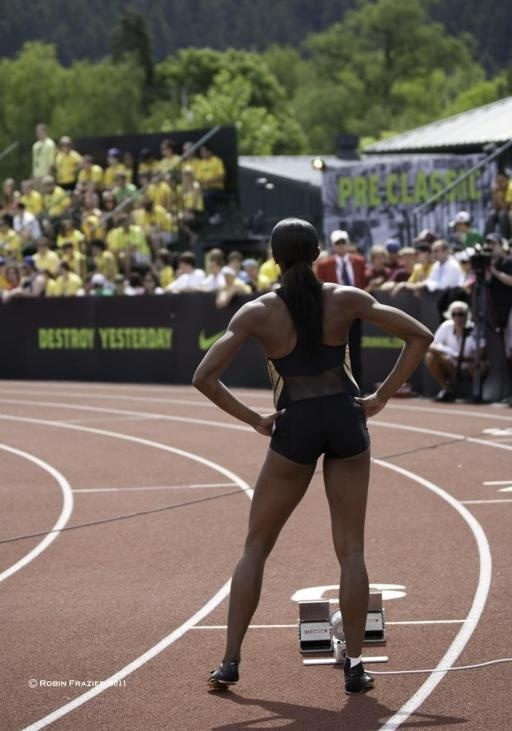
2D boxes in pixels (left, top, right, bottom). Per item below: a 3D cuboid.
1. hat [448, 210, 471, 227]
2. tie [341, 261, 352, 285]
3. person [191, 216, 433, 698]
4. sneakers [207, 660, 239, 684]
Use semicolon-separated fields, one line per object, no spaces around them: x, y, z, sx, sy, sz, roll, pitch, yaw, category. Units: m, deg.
2.599;-1.819;12.906;0.355;0.182;0.224;-7;36;-1;hat
1.227;-1.282;13.877;0.211;0.355;0.084;-2;-1;-32;tie
0.184;0.302;3.444;0.787;1.601;0.330;0;4;3;person
-0.116;1.040;3.448;0.130;0.063;0.053;8;-11;-20;sneakers
